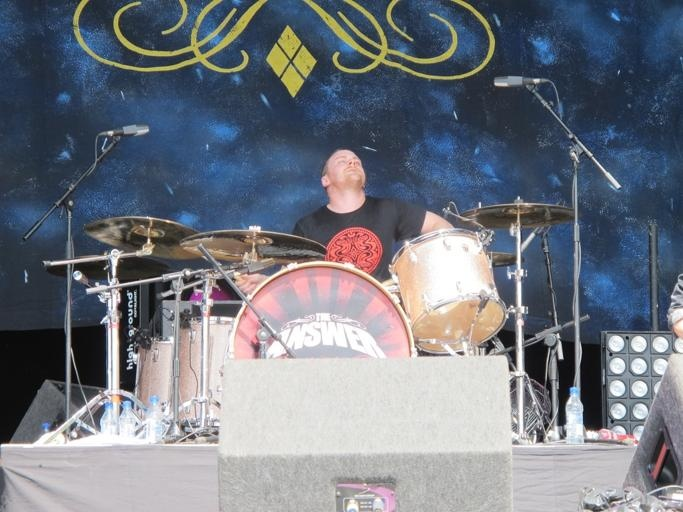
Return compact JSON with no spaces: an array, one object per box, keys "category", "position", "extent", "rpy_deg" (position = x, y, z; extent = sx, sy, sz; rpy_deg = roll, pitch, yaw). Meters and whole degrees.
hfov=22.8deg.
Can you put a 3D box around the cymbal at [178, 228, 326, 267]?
[{"category":"cymbal","position":[-0.629,-0.081,12.834],"extent":[0.858,0.305,0.910],"rpy_deg":[3,-2,-36]}]

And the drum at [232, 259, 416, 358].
[{"category":"drum","position":[-0.104,0.365,13.003],"extent":[1.260,0.728,0.820],"rpy_deg":[0,1,-4]}]

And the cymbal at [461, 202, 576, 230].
[{"category":"cymbal","position":[1.410,-0.293,13.375],"extent":[0.881,0.165,0.533],"rpy_deg":[1,-18,2]}]

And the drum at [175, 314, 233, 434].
[{"category":"drum","position":[-1.071,0.910,13.359],"extent":[0.513,0.803,0.445],"rpy_deg":[-1,5,-15]}]

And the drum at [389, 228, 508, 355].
[{"category":"drum","position":[0.762,0.300,12.997],"extent":[1.061,0.797,0.926],"rpy_deg":[5,-49,-20]}]

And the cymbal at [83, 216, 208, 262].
[{"category":"cymbal","position":[-1.548,-0.131,13.311],"extent":[0.879,0.323,0.339],"rpy_deg":[0,2,-13]}]

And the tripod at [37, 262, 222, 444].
[{"category":"tripod","position":[-1.750,0.717,12.860],"extent":[0.845,1.407,1.053],"rpy_deg":[-1,4,-43]}]

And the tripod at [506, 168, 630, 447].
[{"category":"tripod","position":[1.782,0.240,13.699],"extent":[0.750,2.496,0.727],"rpy_deg":[2,4,-8]}]
